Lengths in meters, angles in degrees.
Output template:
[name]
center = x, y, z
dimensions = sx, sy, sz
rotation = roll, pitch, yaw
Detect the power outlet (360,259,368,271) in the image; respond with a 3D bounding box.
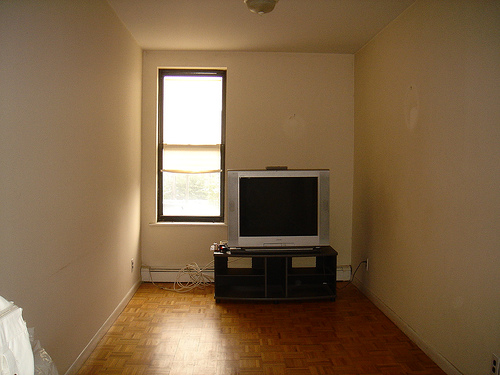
[power outlet]
center = 1.375, 0.904, 4.512
dimensions = 0.094, 0.066, 0.094
rotation = 0, 8, -14
